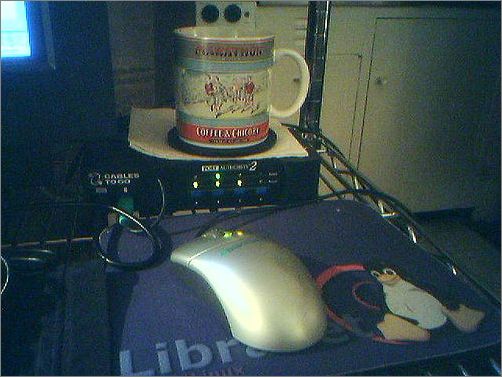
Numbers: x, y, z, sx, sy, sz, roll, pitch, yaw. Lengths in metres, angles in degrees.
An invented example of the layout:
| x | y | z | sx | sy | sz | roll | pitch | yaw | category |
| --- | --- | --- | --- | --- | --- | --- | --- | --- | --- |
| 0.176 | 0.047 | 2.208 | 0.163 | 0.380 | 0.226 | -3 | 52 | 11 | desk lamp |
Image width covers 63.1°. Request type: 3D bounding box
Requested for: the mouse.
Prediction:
| x | y | z | sx | sy | sz | roll | pitch | yaw | category |
| --- | --- | --- | --- | --- | --- | --- | --- | --- | --- |
| -0.001 | 0.119 | 0.547 | 0.120 | 0.073 | 0.229 | -20 | 35 | -37 | mouse |

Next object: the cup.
| x | y | z | sx | sy | sz | roll | pitch | yaw | category |
| --- | --- | --- | --- | --- | --- | --- | --- | --- | --- |
| -0.026 | -0.208 | 0.747 | 0.241 | 0.199 | 0.221 | 2 | 27 | -1 | cup |
